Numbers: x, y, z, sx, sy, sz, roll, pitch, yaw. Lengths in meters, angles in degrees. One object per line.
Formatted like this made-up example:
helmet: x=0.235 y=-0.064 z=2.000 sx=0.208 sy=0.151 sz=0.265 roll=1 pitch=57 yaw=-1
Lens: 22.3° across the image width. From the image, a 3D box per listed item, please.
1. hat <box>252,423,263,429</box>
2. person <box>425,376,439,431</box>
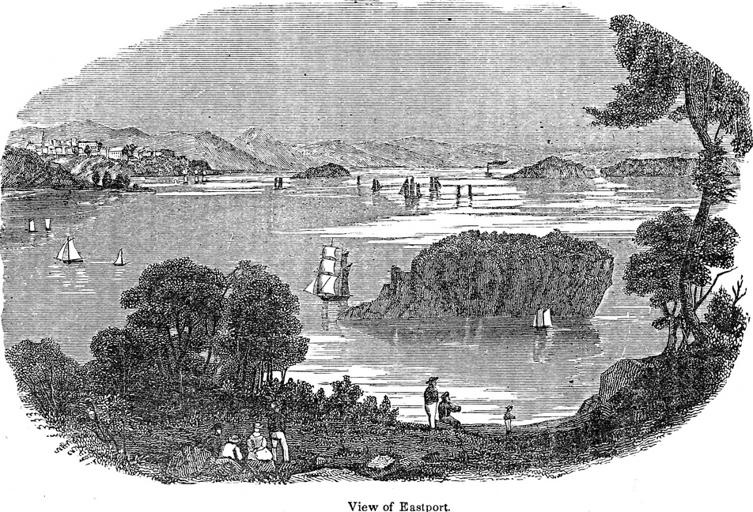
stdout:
hat: x=-1.882 y=2.757 z=30.896 sx=0.130 sy=0.110 sz=0.154 roll=-1 pitch=6 yaw=-4
person: x=0.901 y=2.397 z=31.122 sx=0.231 sy=0.821 sz=0.223 roll=0 pitch=6 yaw=-1
